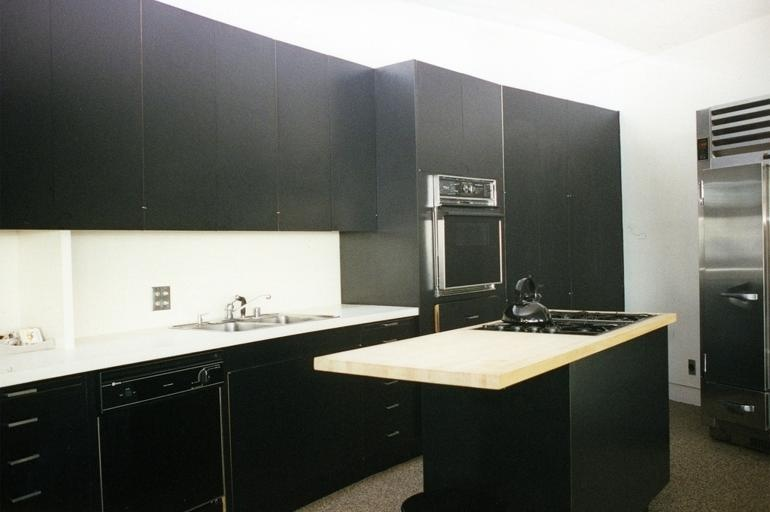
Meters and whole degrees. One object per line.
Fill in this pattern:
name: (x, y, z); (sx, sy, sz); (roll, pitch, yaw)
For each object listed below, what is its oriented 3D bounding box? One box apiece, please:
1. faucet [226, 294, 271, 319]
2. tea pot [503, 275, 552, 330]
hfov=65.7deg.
faucet: (-1.056, 0.389, 4.605); (0.143, 0.187, 0.449); (0, 1, 33)
tea pot: (0.893, 0.315, 3.910); (0.321, 0.302, 0.298); (-2, -1, 0)
